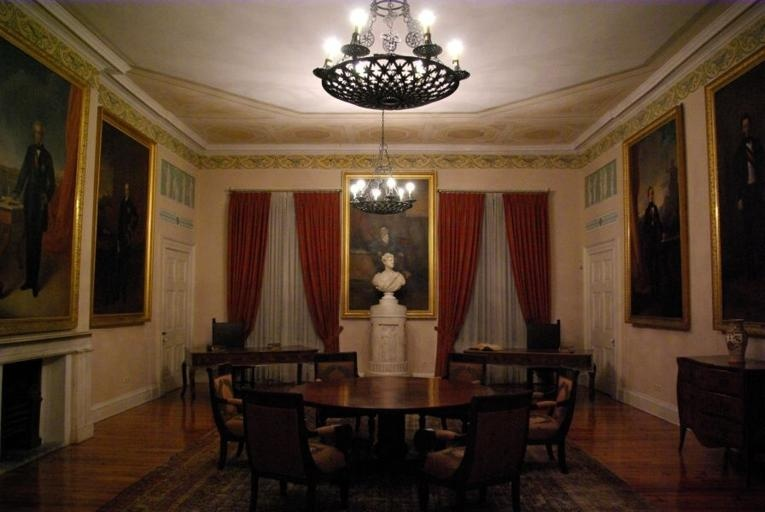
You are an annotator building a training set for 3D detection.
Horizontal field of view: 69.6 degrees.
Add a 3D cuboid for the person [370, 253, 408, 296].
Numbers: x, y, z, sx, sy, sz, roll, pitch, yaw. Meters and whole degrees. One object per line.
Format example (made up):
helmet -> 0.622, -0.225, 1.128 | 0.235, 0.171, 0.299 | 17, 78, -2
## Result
person -> 0.131, 0.370, 11.084 | 0.659, 0.870, 0.511 | 1, -5, -1
